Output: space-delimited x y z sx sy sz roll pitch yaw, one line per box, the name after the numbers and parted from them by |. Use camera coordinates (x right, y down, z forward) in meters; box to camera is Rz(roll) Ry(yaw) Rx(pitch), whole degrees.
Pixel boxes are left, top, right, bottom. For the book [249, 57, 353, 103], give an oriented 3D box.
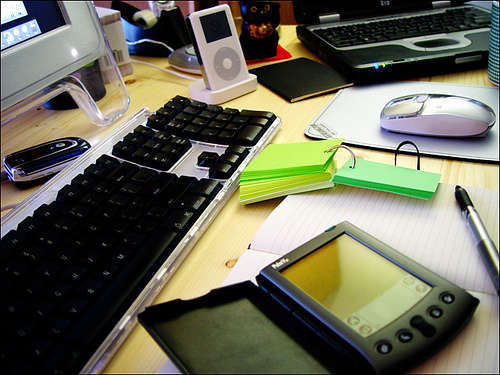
0.122 -0.243 0.833 0.187 0.062 0.250 9 23 21 | book

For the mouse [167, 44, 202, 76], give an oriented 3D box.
-0.191 -0.334 0.976 0.133 0.031 0.114 1 23 -27 | mouse

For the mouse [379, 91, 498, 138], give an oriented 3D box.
0.315 -0.123 0.620 0.165 0.054 0.088 9 43 23 | mouse

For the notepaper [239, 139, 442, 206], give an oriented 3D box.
0.142 -0.018 0.587 0.290 0.089 0.155 6 16 13 | notepaper

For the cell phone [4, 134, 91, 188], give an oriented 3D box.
-0.350 -0.050 0.640 0.117 0.038 0.085 -27 42 -28 | cell phone
